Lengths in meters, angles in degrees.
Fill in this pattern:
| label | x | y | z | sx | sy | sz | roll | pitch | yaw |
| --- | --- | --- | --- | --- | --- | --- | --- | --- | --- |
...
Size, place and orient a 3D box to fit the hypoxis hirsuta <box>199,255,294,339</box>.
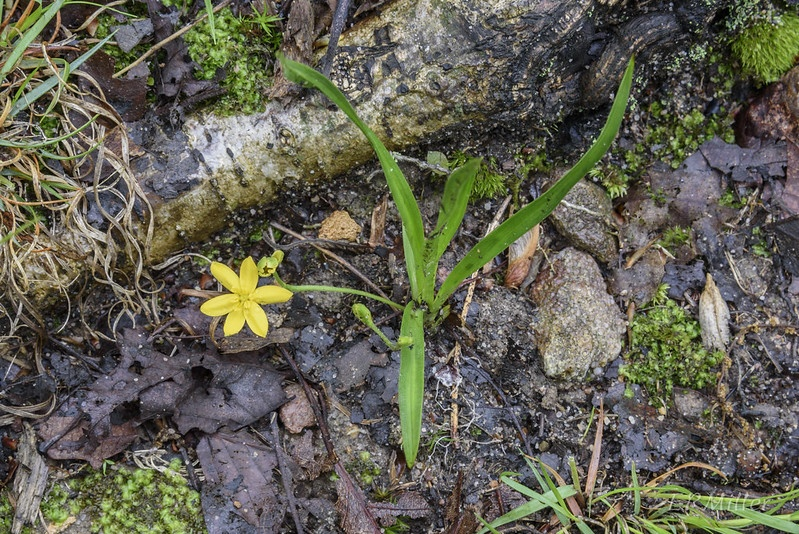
| label | x | y | z | sx | sy | sz | roll | pitch | yaw |
| --- | --- | --- | --- | --- | --- | --- | --- | --- | --- |
| hypoxis hirsuta | -0.809 | 0.156 | 3.771 | 0.593 | 0.151 | 0.605 | 25 | 13 | -49 |
